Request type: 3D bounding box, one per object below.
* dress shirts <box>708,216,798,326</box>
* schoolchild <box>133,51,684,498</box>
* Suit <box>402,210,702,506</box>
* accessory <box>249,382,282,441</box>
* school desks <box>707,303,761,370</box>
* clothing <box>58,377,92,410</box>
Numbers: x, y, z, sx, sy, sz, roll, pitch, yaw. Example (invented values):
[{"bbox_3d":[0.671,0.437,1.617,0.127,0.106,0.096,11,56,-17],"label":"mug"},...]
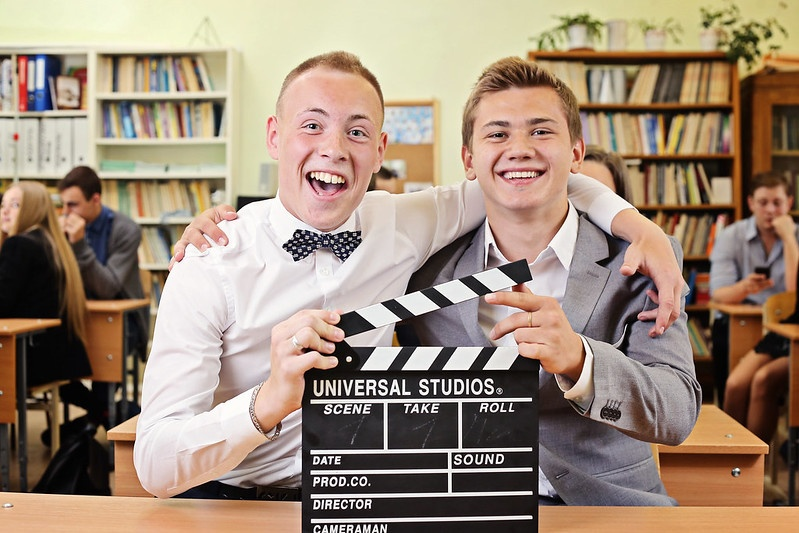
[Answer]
[{"bbox_3d":[2.666,0.045,5.464,0.756,0.955,0.558,2,-10,5],"label":"dress shirts"},{"bbox_3d":[-0.381,-0.004,2.916,0.731,1.646,1.149,1,4,37],"label":"schoolchild"},{"bbox_3d":[0.678,0.503,3.200,1.308,1.436,0.854,8,23,43],"label":"Suit"},{"bbox_3d":[-0.488,0.524,2.631,0.139,0.183,0.045,-6,-6,-8],"label":"accessory"},{"bbox_3d":[2.454,0.452,5.359,0.408,0.479,0.527,0,3,6],"label":"school desks"},{"bbox_3d":[-2.273,0.896,5.120,0.227,0.204,0.059,5,12,-11],"label":"clothing"}]
